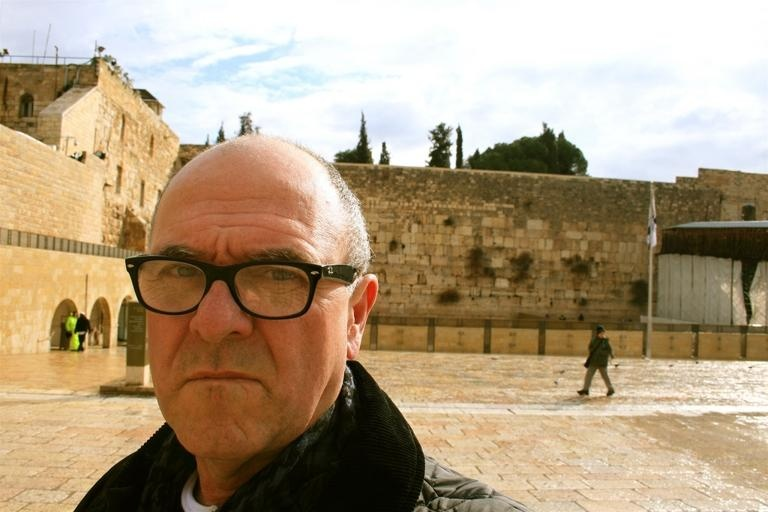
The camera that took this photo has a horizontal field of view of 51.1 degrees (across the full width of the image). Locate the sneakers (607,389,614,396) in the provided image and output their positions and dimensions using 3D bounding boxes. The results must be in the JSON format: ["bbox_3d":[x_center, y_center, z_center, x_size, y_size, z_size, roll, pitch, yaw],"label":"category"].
[{"bbox_3d":[6.596,3.984,23.385,0.101,0.189,0.276,0,8,4],"label":"sneakers"}]

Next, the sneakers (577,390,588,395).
[{"bbox_3d":[5.782,3.988,23.396,0.328,0.158,0.122,3,-3,6],"label":"sneakers"}]
